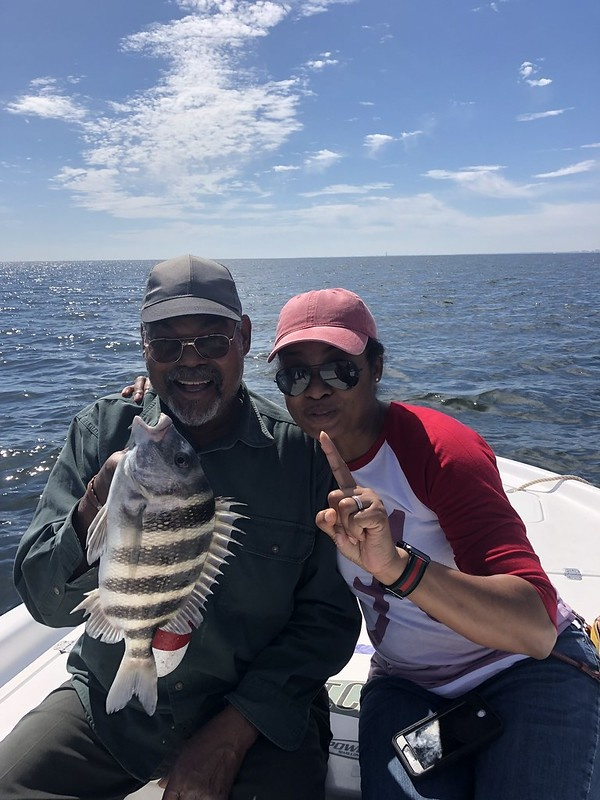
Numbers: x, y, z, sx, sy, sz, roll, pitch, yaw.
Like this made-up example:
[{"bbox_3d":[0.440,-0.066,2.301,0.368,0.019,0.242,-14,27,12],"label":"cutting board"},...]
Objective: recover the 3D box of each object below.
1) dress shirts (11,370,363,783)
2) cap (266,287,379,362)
[{"bbox_3d":[-0.555,0.949,3.267,1.449,0.448,1.695,1,26,-41],"label":"dress shirts"},{"bbox_3d":[0.116,-0.392,3.246,0.566,0.311,0.660,-4,5,0],"label":"cap"}]
